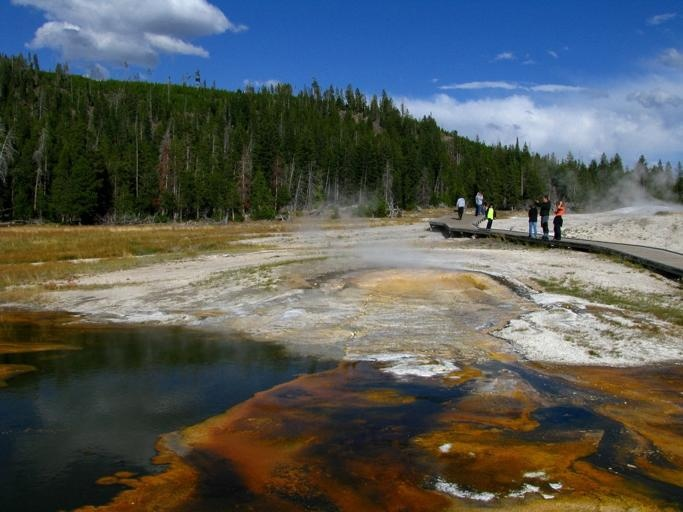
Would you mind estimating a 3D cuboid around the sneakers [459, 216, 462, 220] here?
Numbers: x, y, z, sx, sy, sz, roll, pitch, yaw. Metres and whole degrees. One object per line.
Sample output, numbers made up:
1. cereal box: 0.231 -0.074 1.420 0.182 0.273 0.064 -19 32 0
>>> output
1. sneakers: 10.117 -3.111 41.584 0.303 0.189 0.513 5 11 10
